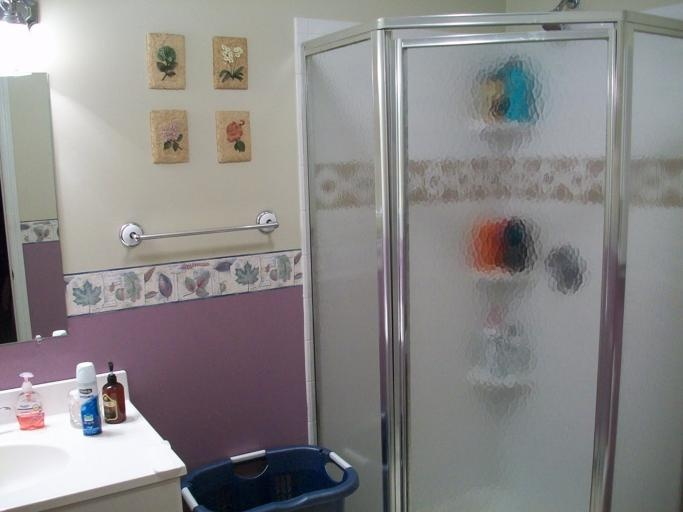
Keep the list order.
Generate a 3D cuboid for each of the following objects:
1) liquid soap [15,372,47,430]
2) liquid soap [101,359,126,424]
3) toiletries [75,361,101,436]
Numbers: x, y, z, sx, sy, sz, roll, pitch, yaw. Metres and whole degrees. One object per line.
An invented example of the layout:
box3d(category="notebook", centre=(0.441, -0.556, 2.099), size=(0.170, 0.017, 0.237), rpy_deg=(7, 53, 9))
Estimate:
box3d(category="liquid soap", centre=(-1.070, 0.522, 1.848), size=(0.071, 0.229, 0.109), rpy_deg=(-1, 2, 14))
box3d(category="liquid soap", centre=(-0.826, 0.477, 1.925), size=(0.078, 0.202, 0.160), rpy_deg=(-9, 8, -29))
box3d(category="toiletries", centre=(-0.844, 0.475, 1.791), size=(0.078, 0.241, 0.069), rpy_deg=(-3, 12, -35))
